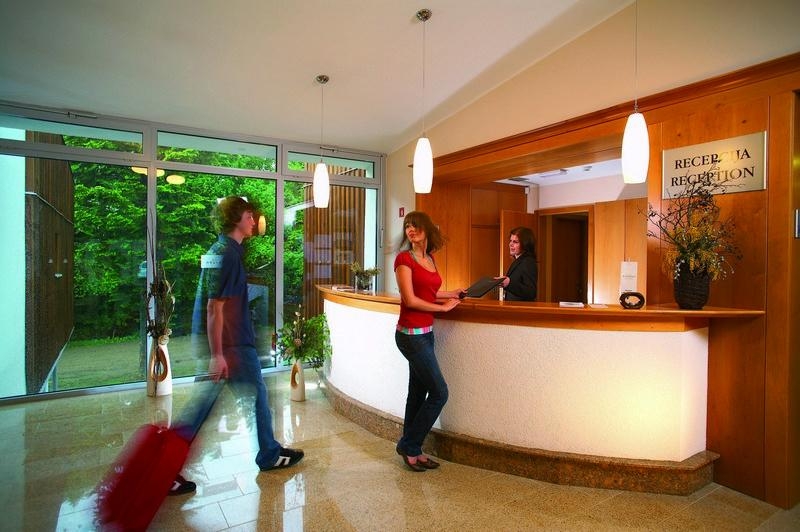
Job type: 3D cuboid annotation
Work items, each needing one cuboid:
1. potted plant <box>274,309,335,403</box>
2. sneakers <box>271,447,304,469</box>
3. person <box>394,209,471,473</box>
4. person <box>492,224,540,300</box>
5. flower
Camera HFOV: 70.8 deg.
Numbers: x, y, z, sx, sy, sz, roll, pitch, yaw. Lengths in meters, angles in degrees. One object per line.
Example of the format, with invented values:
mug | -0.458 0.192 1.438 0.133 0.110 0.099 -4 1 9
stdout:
potted plant | -1.302 1.174 7.294 0.821 1.072 0.897 -8 -28 13
sneakers | -1.105 1.884 5.625 0.127 0.159 0.383 2 3 37
person | 0.256 0.734 5.484 0.589 2.480 0.581 1 12 5
person | 1.467 0.049 6.864 0.433 0.985 1.821 3 12 13
flower | 2.978 -0.414 5.910 0.978 1.257 0.971 -4 2 -12
